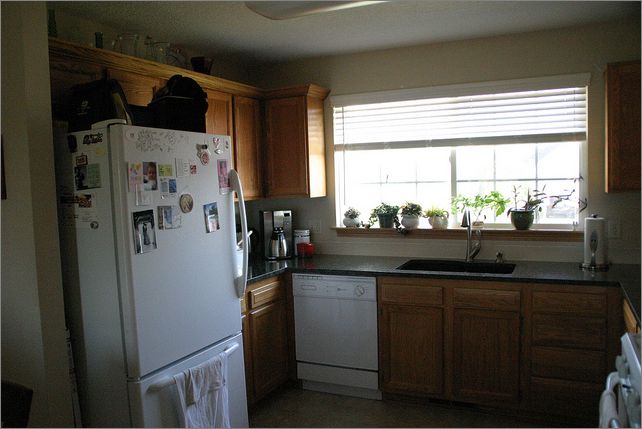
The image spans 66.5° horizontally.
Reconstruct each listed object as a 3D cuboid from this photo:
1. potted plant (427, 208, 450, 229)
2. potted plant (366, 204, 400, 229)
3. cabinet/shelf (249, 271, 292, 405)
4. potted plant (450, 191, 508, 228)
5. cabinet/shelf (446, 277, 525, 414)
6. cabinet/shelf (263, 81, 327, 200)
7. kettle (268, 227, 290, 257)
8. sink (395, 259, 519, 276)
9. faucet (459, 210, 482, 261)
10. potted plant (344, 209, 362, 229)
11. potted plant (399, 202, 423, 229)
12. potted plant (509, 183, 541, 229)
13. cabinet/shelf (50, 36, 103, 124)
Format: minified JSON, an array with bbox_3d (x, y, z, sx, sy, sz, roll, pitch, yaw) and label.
[{"bbox_3d":[1.071,0.031,4.454,0.200,0.145,0.167,-4,5,-37],"label":"potted plant"},{"bbox_3d":[0.583,0.012,4.626,0.249,0.209,0.238,-3,3,-15],"label":"potted plant"},{"bbox_3d":[-0.441,1.064,4.118,0.140,1.054,0.529,3,7,37],"label":"cabinet/shelf"},{"bbox_3d":[1.418,-0.059,4.396,0.392,0.206,0.354,-2,3,-2],"label":"potted plant"},{"bbox_3d":[1.411,1.021,3.962,0.589,0.866,0.533,0,-10,17],"label":"cabinet/shelf"},{"bbox_3d":[-0.250,-0.680,4.782,0.630,0.993,0.447,1,7,27],"label":"cabinet/shelf"},{"bbox_3d":[-0.395,0.273,4.605,0.234,0.273,0.270,-1,9,-6],"label":"kettle"},{"bbox_3d":[1.198,0.457,4.270,0.936,0.101,0.256,1,6,14],"label":"sink"},{"bbox_3d":[1.333,0.184,4.279,0.135,0.468,0.286,2,6,25],"label":"faucet"},{"bbox_3d":[0.302,0.041,4.729,0.174,0.210,0.174,3,5,29],"label":"potted plant"},{"bbox_3d":[0.828,0.009,4.505,0.245,0.221,0.218,0,-6,8],"label":"potted plant"},{"bbox_3d":[1.787,-0.060,4.275,0.287,0.383,0.203,1,6,20],"label":"potted plant"},{"bbox_3d":[-1.762,-0.895,3.571,0.467,0.653,0.729,2,14,-26],"label":"cabinet/shelf"}]
